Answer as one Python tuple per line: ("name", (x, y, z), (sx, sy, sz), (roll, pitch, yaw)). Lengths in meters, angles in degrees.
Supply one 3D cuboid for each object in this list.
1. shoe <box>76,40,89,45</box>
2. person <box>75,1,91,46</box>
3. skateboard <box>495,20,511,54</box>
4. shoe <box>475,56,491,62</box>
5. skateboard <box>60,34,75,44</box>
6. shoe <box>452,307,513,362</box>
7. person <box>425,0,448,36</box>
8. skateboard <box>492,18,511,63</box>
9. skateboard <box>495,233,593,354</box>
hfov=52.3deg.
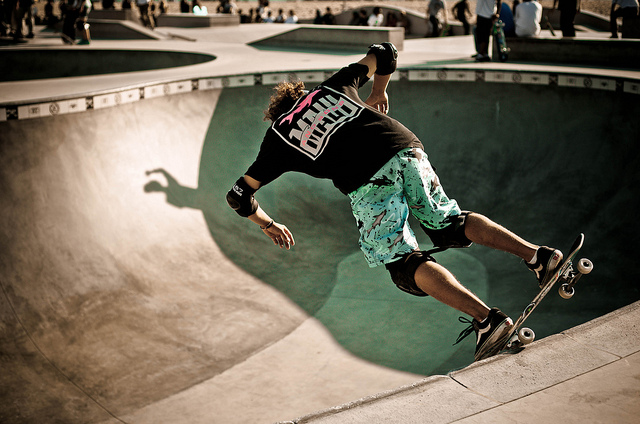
("shoe", (-5.644, -4.016, 15.510), (0.283, 0.070, 0.285), (21, 35, 39))
("person", (-5.563, -4.429, 15.342), (0.369, 0.990, 0.983), (-3, 14, -20))
("skateboard", (3.238, -3.120, 11.655), (0.175, 0.616, 0.226), (-10, -17, -5))
("shoe", (2.915, -2.744, 11.735), (0.254, 0.110, 0.293), (4, 13, 10))
("skateboard", (-5.972, -4.086, 15.466), (0.397, 0.183, 0.140), (11, 16, 35))
("shoe", (1.709, 1.227, 6.797), (0.393, 0.669, 0.411), (44, 48, 17))
("person", (3.790, -6.248, 21.170), (0.645, 1.061, 0.820), (4, 13, 8))
("skateboard", (3.190, -3.053, 11.725), (0.350, 0.732, 0.437), (-6, -1, -1))
("skateboard", (2.576, 0.979, 7.493), (1.658, 0.432, 0.257), (-46, 34, -17))
